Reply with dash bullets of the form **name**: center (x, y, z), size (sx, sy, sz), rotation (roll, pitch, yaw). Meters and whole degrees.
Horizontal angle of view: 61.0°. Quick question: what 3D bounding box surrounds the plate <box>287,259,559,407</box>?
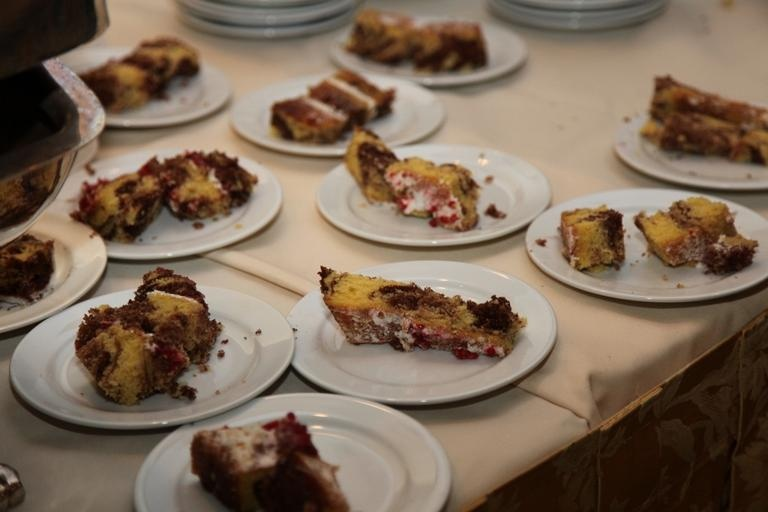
- **plate**: center (0.064, 0.117, 1.129), size (0.456, 0.119, 0.312), rotation (-10, 63, -7)

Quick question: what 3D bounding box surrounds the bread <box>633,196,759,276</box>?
- **bread**: center (0.606, -0.046, 1.261), size (0.153, 0.049, 0.160), rotation (-13, 37, -4)

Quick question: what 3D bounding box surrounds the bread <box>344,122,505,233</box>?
- **bread**: center (0.069, -0.211, 1.418), size (0.297, 0.107, 0.185), rotation (30, 38, 32)

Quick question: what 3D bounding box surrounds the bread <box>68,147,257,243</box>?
- **bread**: center (-0.467, -0.141, 1.408), size (0.294, 0.086, 0.204), rotation (-4, 37, -12)

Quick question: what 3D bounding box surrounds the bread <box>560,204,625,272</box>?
- **bread**: center (0.401, -0.025, 1.300), size (0.113, 0.100, 0.118), rotation (-7, 40, -8)

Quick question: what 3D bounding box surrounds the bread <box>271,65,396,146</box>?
- **bread**: center (-0.128, -0.377, 1.641), size (0.263, 0.081, 0.175), rotation (-29, 46, -32)

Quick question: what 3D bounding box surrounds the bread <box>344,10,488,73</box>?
- **bread**: center (0.086, -0.605, 1.847), size (0.275, 0.090, 0.206), rotation (9, 29, 2)
